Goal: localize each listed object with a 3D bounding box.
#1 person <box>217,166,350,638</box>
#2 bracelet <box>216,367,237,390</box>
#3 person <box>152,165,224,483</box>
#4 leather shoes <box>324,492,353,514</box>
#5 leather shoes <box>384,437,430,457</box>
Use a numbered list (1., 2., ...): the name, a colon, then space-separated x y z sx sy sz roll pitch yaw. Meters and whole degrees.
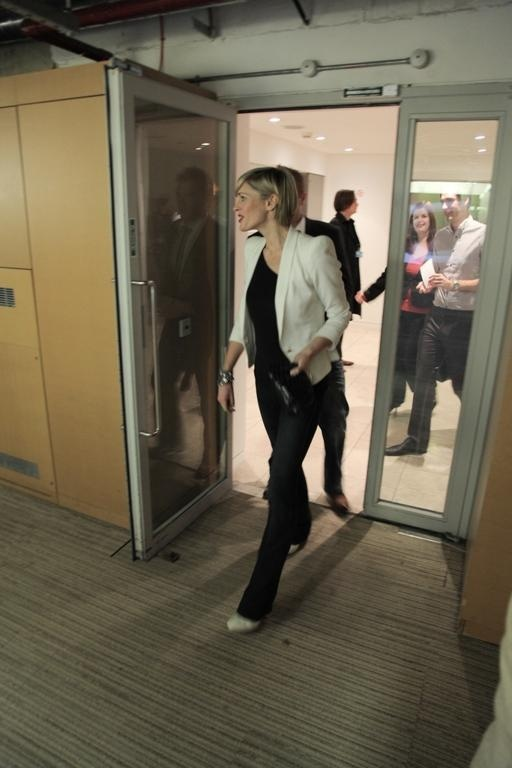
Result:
1. person: 0.086 0.072 2.211 0.466 1.676 0.783 3 22 -4
2. bracelet: -0.129 -0.027 2.446 0.053 0.065 0.068 -11 -4 16
3. person: -0.311 -0.326 2.684 0.169 1.278 0.596 8 22 8
4. leather shoes: 0.439 0.639 3.107 0.056 0.064 0.156 -18 19 -34
5. leather shoes: 0.733 0.295 2.856 0.238 0.099 0.076 4 20 14
